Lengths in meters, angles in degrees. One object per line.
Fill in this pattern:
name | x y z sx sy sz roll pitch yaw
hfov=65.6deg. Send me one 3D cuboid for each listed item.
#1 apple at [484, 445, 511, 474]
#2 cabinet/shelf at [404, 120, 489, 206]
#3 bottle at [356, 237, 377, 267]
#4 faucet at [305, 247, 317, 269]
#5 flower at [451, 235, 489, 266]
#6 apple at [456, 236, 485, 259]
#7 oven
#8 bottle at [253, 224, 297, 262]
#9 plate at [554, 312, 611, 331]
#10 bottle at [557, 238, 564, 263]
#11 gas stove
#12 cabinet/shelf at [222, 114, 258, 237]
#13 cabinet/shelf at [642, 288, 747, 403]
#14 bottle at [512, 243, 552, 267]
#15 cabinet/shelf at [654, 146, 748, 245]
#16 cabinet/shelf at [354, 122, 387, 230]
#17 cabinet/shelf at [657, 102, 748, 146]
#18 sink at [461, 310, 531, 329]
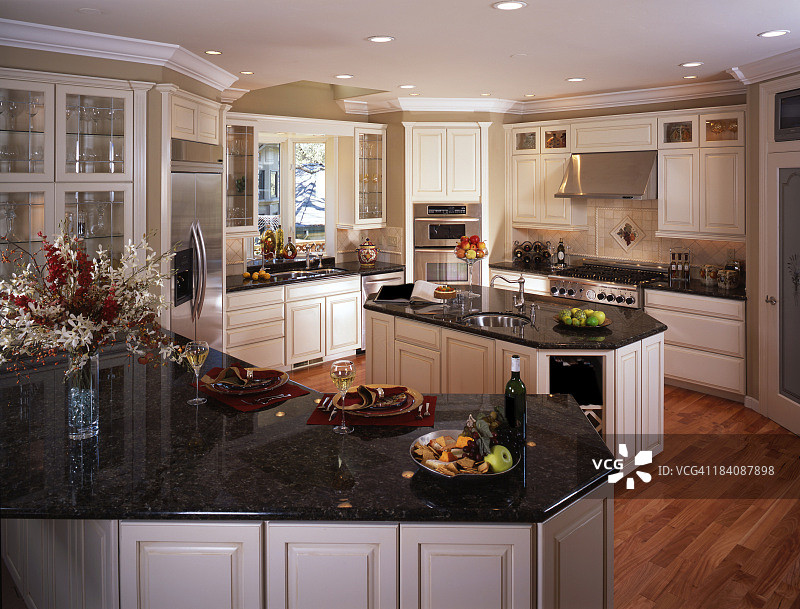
apple | 0.357 0.549 2.226 0.080 0.072 0.111 14 18 42
cabinet/shelf | 0.512 -1.706 7.315 1.092 0.919 0.401 -1 4 -8
bottle | -0.387 -0.650 7.636 0.306 0.374 0.298 1 -2 0
faucet | -1.044 -0.569 7.422 0.114 0.247 0.370 1 13 -5
flower | 0.576 -0.439 5.072 0.337 0.280 0.339 1 3 -6
apple | 0.569 -0.461 4.993 0.199 0.112 0.201 0 5 -4
oven | 0.450 -0.730 7.717 0.852 1.056 0.793 -4 10 -21
bottle | -1.414 -0.717 7.281 0.490 0.374 0.347 -6 15 -30
plate | 1.298 0.102 4.370 0.360 0.108 0.217 4 13 11
bottle | 1.988 -0.650 7.609 0.110 0.265 0.204 5 13 14
gas stove | 2.367 -0.240 6.869 1.201 0.349 0.820 13 17 40
cabinet/shelf | -1.614 -1.304 6.348 0.303 1.049 0.359 -1 13 -13
cabinet/shelf | 2.759 0.367 5.703 0.731 0.994 1.098 -2 5 -43
bottle | 1.641 -0.641 7.699 0.479 0.256 0.453 2 13 0
cabinet/shelf | 3.007 -1.105 6.128 0.359 1.010 1.084 -4 6 -43
cabinet/shelf | -0.348 -1.516 7.408 0.167 1.166 0.469 14 17 43
cabinet/shelf | 2.958 -1.733 6.117 0.212 0.390 0.838 -6 15 -31
sink | 0.728 0.129 4.611 0.510 0.101 0.324 7 14 22
